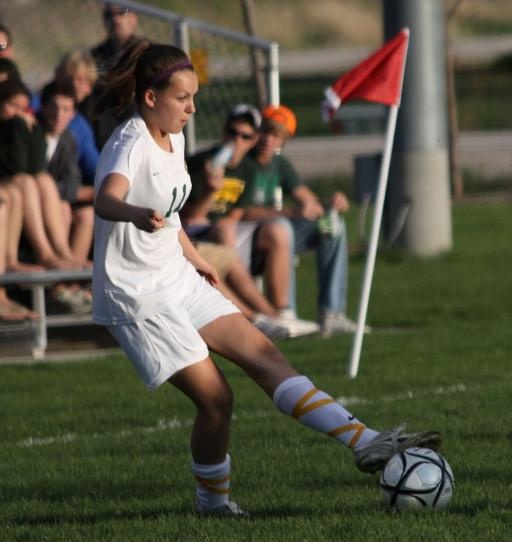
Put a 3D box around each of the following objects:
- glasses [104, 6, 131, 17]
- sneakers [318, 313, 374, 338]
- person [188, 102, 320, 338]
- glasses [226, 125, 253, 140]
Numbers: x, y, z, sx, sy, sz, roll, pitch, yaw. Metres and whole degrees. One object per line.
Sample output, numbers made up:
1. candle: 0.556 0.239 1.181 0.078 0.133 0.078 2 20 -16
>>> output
1. glasses: -0.939 -1.726 10.090 0.089 0.076 0.098 -5 21 -16
2. sneakers: 0.490 0.325 9.219 0.202 0.111 0.123 3 0 -10
3. person: -0.060 -0.287 8.946 0.648 1.467 0.868 1 -11 -20
4. glasses: -0.107 -0.790 8.866 0.088 0.047 0.116 9 -18 -25
